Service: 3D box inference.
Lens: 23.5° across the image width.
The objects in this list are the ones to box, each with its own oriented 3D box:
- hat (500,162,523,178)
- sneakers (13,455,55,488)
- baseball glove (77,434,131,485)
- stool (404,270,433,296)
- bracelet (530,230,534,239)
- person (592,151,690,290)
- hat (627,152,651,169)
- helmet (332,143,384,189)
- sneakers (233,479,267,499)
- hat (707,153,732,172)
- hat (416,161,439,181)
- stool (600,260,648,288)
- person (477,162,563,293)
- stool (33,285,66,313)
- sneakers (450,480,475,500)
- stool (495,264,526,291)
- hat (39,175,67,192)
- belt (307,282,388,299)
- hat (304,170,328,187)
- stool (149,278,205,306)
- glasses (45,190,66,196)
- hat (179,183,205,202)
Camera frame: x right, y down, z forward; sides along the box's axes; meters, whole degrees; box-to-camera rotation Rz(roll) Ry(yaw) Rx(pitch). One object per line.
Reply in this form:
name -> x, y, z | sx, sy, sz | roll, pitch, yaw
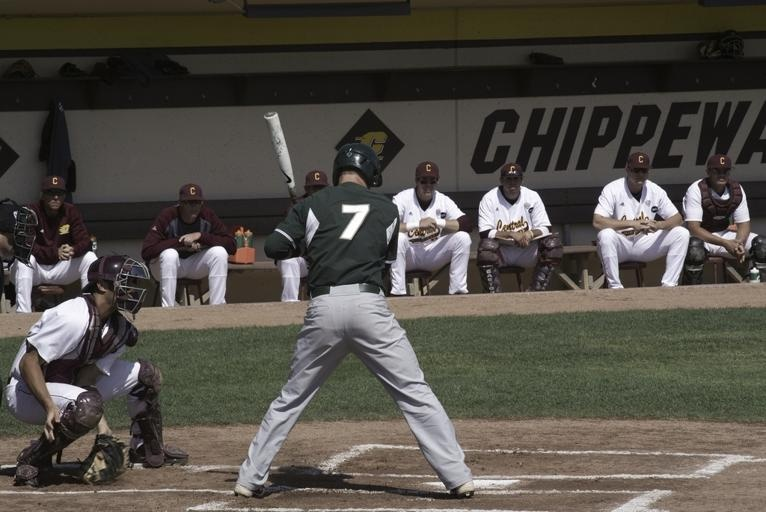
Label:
hat -> 1.719, -1.205, 24.604 | 0.206, 0.151, 0.271 | 1, -1, 0
sneakers -> -3.752, 2.377, 20.069 | 0.543, 0.242, 0.200 | -4, 46, -5
baseball glove -> -2.993, 2.240, 20.093 | 0.618, 0.578, 0.403 | -10, 11, -10
stool -> 0.492, 0.349, 25.270 | 0.358, 0.362, 0.351 | 0, -4, -5
bracelet -> 1.971, -0.323, 24.248 | 0.029, 0.080, 0.073 | -28, -20, 2
person -> 3.400, -0.527, 24.353 | 1.216, 1.815, 0.705 | 0, 1, 6
hat -> 3.403, -1.339, 24.602 | 0.244, 0.167, 0.331 | 3, 1, 3
helmet -> -0.239, -1.080, 20.333 | 0.438, 0.391, 0.548 | 6, 13, 5
sneakers -> -1.425, 2.537, 19.805 | 0.370, 0.138, 0.167 | 3, -29, -23
hat -> 4.471, -1.316, 24.630 | 0.244, 0.180, 0.322 | 1, -1, 2
hat -> 0.604, -1.198, 24.557 | 0.231, 0.158, 0.299 | 1, 1, -2
stool -> 3.213, 0.181, 24.631 | 0.492, 0.595, 0.476 | 0, -2, 7
person -> 1.793, -0.424, 24.397 | 1.063, 1.744, 0.758 | 0, 1, 3
stool -> -4.413, 0.533, 24.732 | 0.438, 0.261, 0.590 | 1, 0, -16
sneakers -> 0.878, 2.538, 19.765 | 0.220, 0.132, 0.210 | -1, -4, -1
stool -> 1.733, 0.251, 24.607 | 0.387, 0.391, 0.380 | -1, -3, -3
hat -> -4.296, -1.006, 24.289 | 0.275, 0.210, 0.292 | 0, 1, -8
belt -> -0.374, 0.352, 19.816 | 0.782, 0.158, 0.170 | 0, 1, -5
hat -> -0.877, -1.103, 24.933 | 0.216, 0.146, 0.279 | -2, 5, -7
stool -> -2.774, 0.475, 25.478 | 0.541, 0.609, 0.528 | 0, -1, -8
glasses -> -4.264, -0.876, 24.210 | 0.274, 0.091, 0.092 | 0, 1, -30
hat -> -2.502, -0.887, 24.336 | 0.277, 0.228, 0.268 | 0, 1, 1
